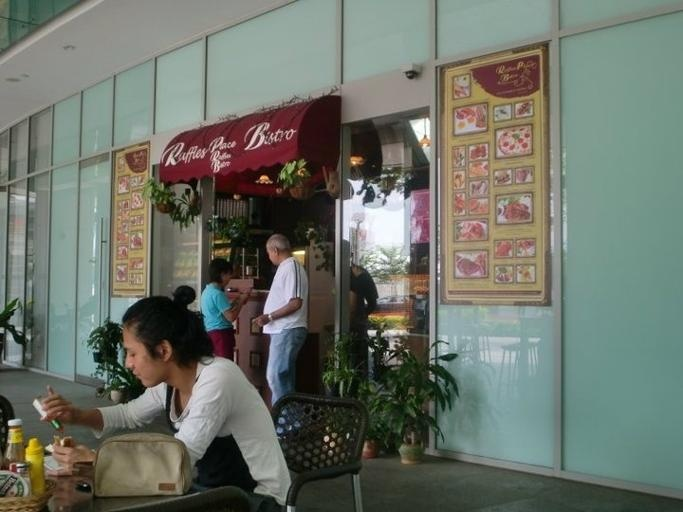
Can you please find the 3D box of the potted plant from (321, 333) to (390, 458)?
[{"bbox_3d":[0.304,1.368,5.688,0.717,1.158,0.629,4,-11,-17],"label":"potted plant"}]

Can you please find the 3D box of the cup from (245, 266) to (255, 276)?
[{"bbox_3d":[-1.192,0.204,7.953,0.111,0.124,0.112,1,-4,0],"label":"cup"}]

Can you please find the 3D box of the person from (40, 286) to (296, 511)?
[{"bbox_3d":[-0.881,0.788,3.200,1.164,1.527,0.782,2,-16,-22],"label":"person"}]

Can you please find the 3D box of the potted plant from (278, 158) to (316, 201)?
[{"bbox_3d":[-0.517,-0.754,6.271,0.404,0.419,0.408,-2,-1,10],"label":"potted plant"}]

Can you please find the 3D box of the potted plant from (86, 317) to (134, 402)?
[{"bbox_3d":[-3.099,1.331,8.005,0.570,1.015,0.555,-12,4,8],"label":"potted plant"}]

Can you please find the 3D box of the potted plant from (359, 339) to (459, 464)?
[{"bbox_3d":[0.558,1.259,5.338,0.719,1.006,0.925,1,-2,-31],"label":"potted plant"}]

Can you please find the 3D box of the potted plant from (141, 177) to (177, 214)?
[{"bbox_3d":[-2.330,-0.758,7.741,0.392,0.439,0.312,0,-2,-17],"label":"potted plant"}]
